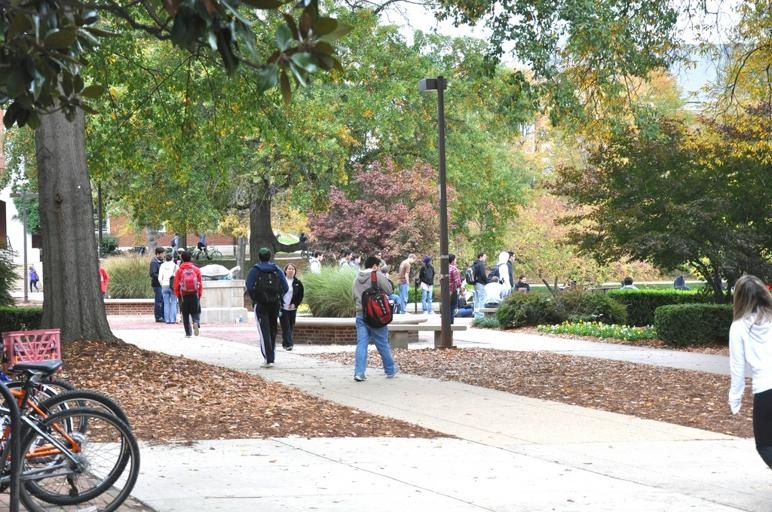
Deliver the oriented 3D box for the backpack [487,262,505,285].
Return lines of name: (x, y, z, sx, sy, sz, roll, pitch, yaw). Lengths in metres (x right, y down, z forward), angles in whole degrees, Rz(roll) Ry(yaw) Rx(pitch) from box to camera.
backpack: (3.191, 0.425, 36.450, 0.464, 0.737, 0.817, -1, -7, 22)

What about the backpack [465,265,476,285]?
backpack: (2.550, 0.577, 35.623, 0.504, 0.462, 0.328, 0, -1, 5)

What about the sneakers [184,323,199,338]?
sneakers: (-4.499, 1.748, 28.963, 0.193, 0.484, 0.214, -18, 8, -28)

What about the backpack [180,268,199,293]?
backpack: (-4.439, 0.572, 28.272, 0.389, 0.602, 0.240, 0, 10, -12)

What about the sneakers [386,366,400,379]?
sneakers: (0.149, 2.177, 23.451, 0.123, 0.152, 0.348, 1, 8, 19)
